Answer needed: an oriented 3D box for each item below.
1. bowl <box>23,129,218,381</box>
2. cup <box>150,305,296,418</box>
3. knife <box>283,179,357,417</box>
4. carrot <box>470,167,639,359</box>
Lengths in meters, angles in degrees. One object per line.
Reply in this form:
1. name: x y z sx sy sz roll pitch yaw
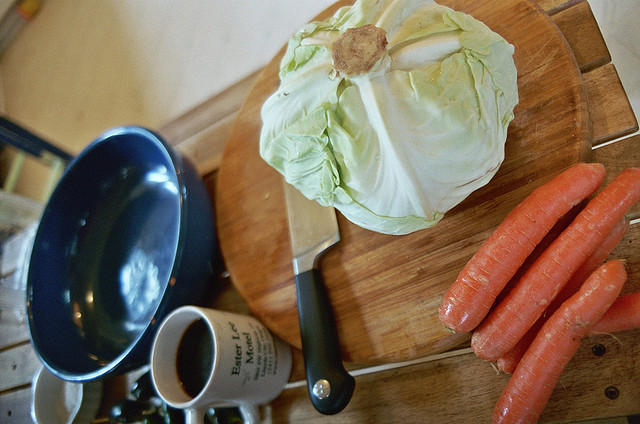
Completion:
1. bowl: -0.602 0.179 2.005 0.800 0.899 0.335 -12 -20 40
2. cup: -0.311 0.468 1.578 0.281 0.489 0.320 -25 -25 35
3. knife: -0.010 0.239 1.686 0.162 0.812 0.113 -24 -27 18
4. carrot: 0.719 0.162 1.504 0.655 0.116 0.124 -49 16 -6
